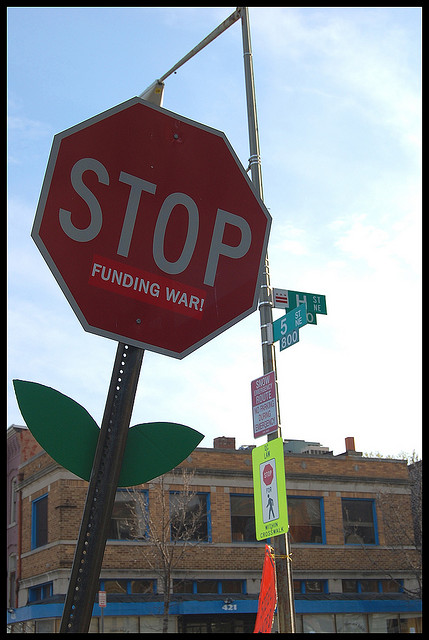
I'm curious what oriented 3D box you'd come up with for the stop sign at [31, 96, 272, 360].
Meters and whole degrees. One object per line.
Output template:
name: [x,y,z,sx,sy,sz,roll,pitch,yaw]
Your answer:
stop sign: [-0.334,-0.448,3.853,1.192,1.109,0.036,24,-27,-19]
